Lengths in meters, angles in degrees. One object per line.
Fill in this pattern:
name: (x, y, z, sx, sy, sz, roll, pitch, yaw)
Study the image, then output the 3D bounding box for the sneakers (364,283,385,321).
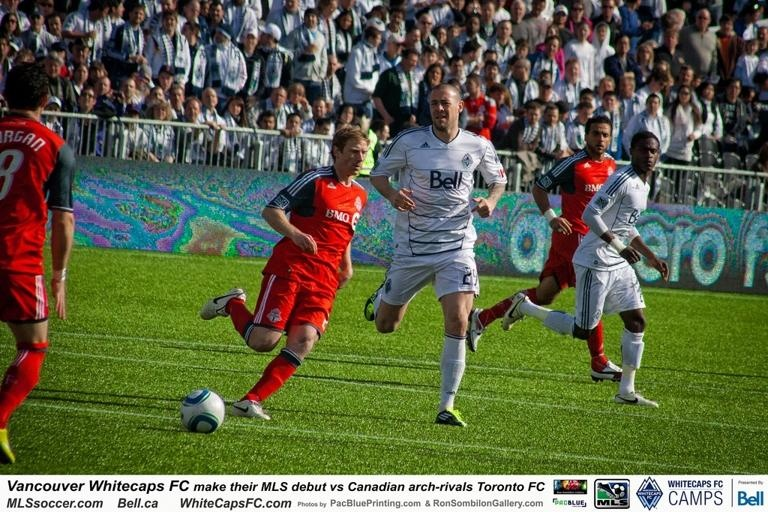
sneakers: (-0.157, 0.590, 12.945, 0.122, 0.506, 0.266, 27, -8, -28)

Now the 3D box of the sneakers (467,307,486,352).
sneakers: (1.190, 0.946, 13.420, 0.259, 0.593, 0.189, 3, 8, 24)

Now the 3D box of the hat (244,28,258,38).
hat: (-2.461, -4.227, 19.798, 0.317, 0.238, 0.329, 1, 5, -10)

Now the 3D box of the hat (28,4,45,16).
hat: (-6.205, -4.453, 18.818, 0.169, 0.255, 0.247, -4, 11, 1)

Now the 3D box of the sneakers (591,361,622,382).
sneakers: (2.691, 1.398, 12.654, 0.451, 0.242, 0.166, -1, 10, 4)

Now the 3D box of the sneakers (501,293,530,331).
sneakers: (1.675, 0.714, 13.463, 0.259, 0.606, 0.209, 2, 47, -22)

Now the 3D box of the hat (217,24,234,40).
hat: (-2.827, -4.018, 18.729, 0.257, 0.231, 0.427, 4, 12, -4)

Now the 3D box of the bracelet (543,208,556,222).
bracelet: (2.029, -0.496, 12.643, 0.155, 0.128, 0.163, -10, 15, -27)

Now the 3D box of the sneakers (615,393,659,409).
sneakers: (2.844, 1.623, 11.911, 0.523, 0.188, 0.185, 1, 6, 1)

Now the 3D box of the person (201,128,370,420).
person: (-0.976, 0.078, 10.956, 1.427, 2.913, 1.107, -5, 15, -40)

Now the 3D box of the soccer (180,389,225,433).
soccer: (-1.734, 1.491, 10.086, 0.415, 0.407, 0.171, 3, 11, -10)

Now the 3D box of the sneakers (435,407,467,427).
sneakers: (0.685, 1.659, 10.813, 0.385, 0.191, 0.138, 3, 3, 7)

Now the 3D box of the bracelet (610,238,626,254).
bracelet: (2.645, -0.123, 11.834, 0.155, 0.152, 0.155, 27, 52, -2)

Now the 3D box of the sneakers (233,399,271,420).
sneakers: (-1.311, 1.530, 10.514, 0.432, 0.195, 0.164, 12, 31, -12)
